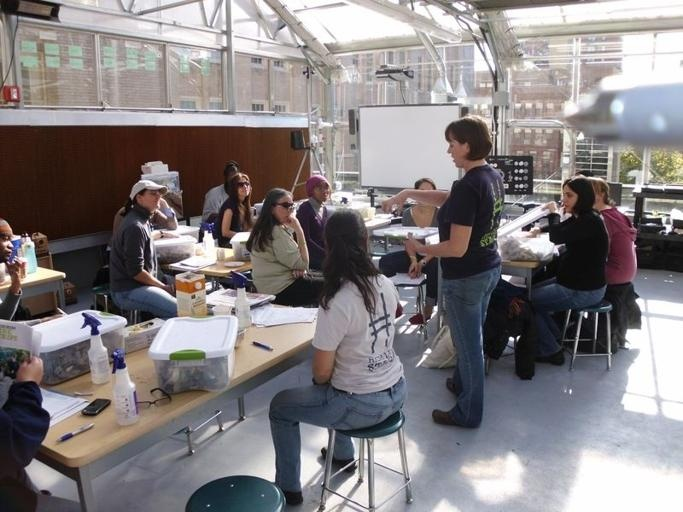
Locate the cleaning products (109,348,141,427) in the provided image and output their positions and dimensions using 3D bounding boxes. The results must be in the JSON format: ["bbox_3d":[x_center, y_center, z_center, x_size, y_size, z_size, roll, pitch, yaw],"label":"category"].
[{"bbox_3d":[-0.850,0.506,1.958,0.084,0.269,0.126,-7,15,-26],"label":"cleaning products"}]

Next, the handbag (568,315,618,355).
[{"bbox_3d":[2.190,0.672,4.568,0.358,0.508,0.354,-3,-1,23],"label":"handbag"}]

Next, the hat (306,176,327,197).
[{"bbox_3d":[-0.294,-0.739,5.362,0.234,0.190,0.184,-16,17,20],"label":"hat"}]

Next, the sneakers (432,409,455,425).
[{"bbox_3d":[0.680,1.089,3.415,0.124,0.073,0.051,13,2,26],"label":"sneakers"}]

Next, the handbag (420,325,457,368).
[{"bbox_3d":[0.825,0.760,4.234,0.340,0.132,0.337,-6,6,11],"label":"handbag"}]

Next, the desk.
[{"bbox_3d":[-0.253,0.528,3.741,3.648,1.066,2.723,-11,17,-35],"label":"desk"}]

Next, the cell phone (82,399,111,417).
[{"bbox_3d":[-1.003,0.613,2.050,0.081,0.021,0.111,3,14,16],"label":"cell phone"}]

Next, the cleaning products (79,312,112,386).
[{"bbox_3d":[-1.109,0.412,2.259,0.074,0.300,0.181,-12,17,-40],"label":"cleaning products"}]
